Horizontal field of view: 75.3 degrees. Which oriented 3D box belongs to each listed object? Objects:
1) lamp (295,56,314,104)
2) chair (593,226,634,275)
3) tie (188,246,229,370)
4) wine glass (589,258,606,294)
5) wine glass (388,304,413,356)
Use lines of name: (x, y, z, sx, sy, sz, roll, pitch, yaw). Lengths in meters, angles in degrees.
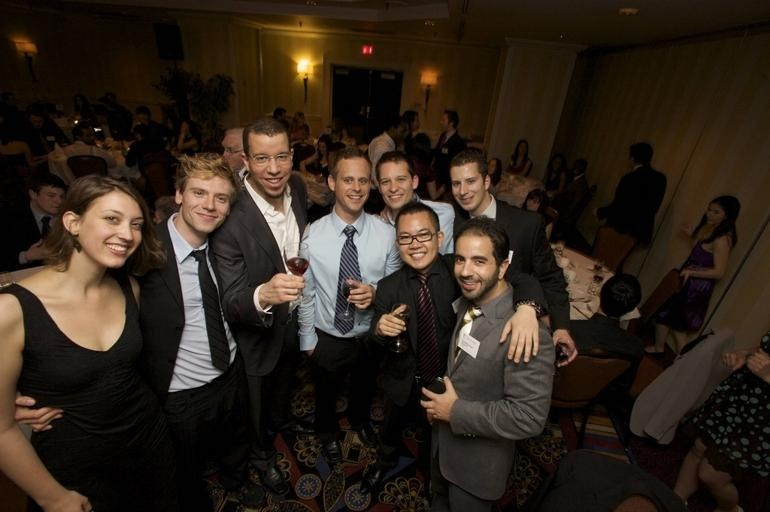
lamp: (-1.965, -4.366, 12.243, 0.357, 1.109, 0.379, 5, 30, 8)
chair: (3.154, -0.086, 6.926, 0.463, 0.718, 0.409, 8, 19, -46)
tie: (-1.518, 0.444, 4.343, 0.241, 1.096, 0.118, -9, -4, -11)
wine glass: (2.556, 0.256, 6.041, 0.103, 0.100, 0.397, 32, 19, 6)
wine glass: (0.153, 0.661, 4.422, 0.225, 0.527, 0.131, -16, 31, -36)
